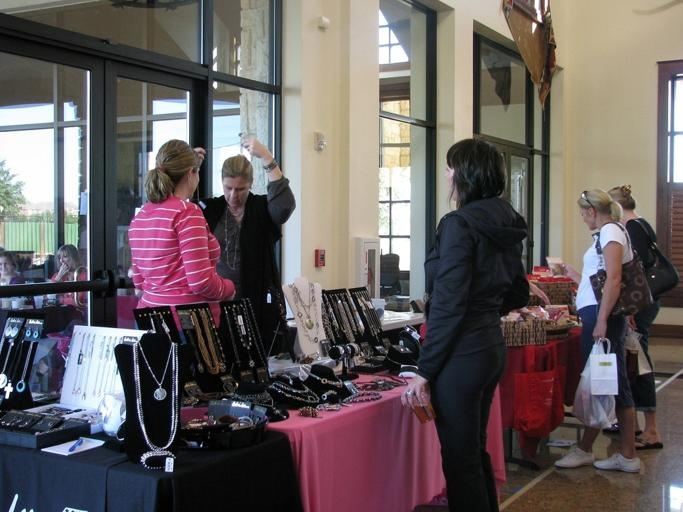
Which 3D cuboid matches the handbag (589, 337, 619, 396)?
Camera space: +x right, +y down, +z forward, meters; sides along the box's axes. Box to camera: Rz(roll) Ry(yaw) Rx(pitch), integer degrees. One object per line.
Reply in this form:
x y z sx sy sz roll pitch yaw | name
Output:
1.656 0.717 3.853 0.161 0.375 0.127 -2 1 26 | handbag

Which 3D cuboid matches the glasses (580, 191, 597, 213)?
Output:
1.649 -0.367 4.054 0.030 0.109 0.101 0 -2 -23 | glasses

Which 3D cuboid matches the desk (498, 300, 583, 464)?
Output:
1.265 0.806 4.215 0.661 0.742 1.177 -2 -1 26 | desk

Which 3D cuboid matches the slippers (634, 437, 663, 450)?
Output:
2.246 1.387 4.467 0.193 0.058 0.082 3 -4 -3 | slippers

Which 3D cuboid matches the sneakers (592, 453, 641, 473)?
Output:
1.838 1.384 4.082 0.291 0.129 0.122 2 -5 12 | sneakers

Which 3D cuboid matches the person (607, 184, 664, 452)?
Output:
2.176 0.406 4.789 0.561 1.987 0.570 1 -21 27 | person

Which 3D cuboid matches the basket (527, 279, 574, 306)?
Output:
1.821 0.293 5.187 0.415 0.207 0.225 1 1 -38 | basket

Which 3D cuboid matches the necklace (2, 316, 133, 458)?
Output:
-0.948 0.460 2.205 0.358 0.322 0.402 -1 -2 28 | necklace

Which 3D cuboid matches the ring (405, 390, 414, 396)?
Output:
0.281 0.568 2.507 0.025 0.015 0.035 0 4 5 | ring

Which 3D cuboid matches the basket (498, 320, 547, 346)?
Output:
1.125 0.477 3.740 0.275 0.186 0.274 0 -4 -40 | basket

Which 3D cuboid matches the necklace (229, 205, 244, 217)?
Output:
-0.566 -0.238 3.314 0.057 0.050 0.054 3 -9 -10 | necklace

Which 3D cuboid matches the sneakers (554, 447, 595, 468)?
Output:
1.578 1.386 4.170 0.292 0.130 0.113 1 -7 -14 | sneakers
